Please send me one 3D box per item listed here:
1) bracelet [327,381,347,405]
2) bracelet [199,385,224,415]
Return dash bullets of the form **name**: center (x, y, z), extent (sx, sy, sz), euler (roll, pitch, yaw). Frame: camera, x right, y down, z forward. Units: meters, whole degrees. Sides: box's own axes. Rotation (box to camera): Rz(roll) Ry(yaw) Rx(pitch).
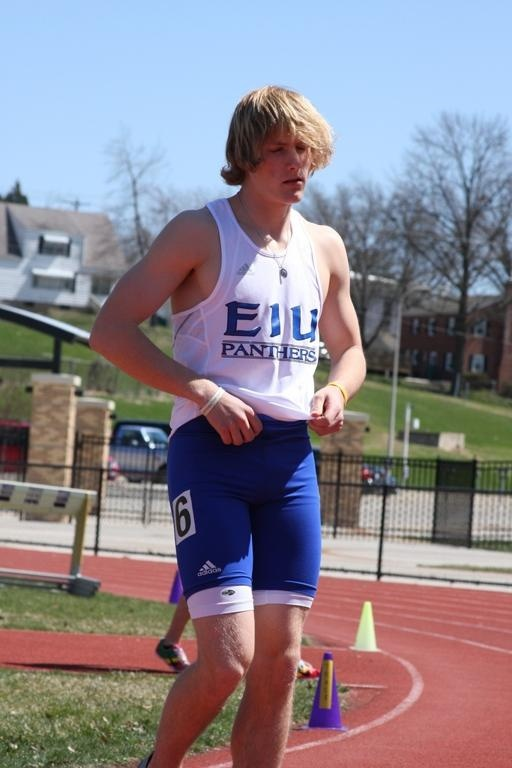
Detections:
- **bracelet**: center (0.229, 0.025, 2.680), extent (0.049, 0.062, 0.030), euler (-2, -35, -8)
- **bracelet**: center (-0.102, 0.041, 2.332), extent (0.016, 0.060, 0.057), euler (44, -33, -17)
